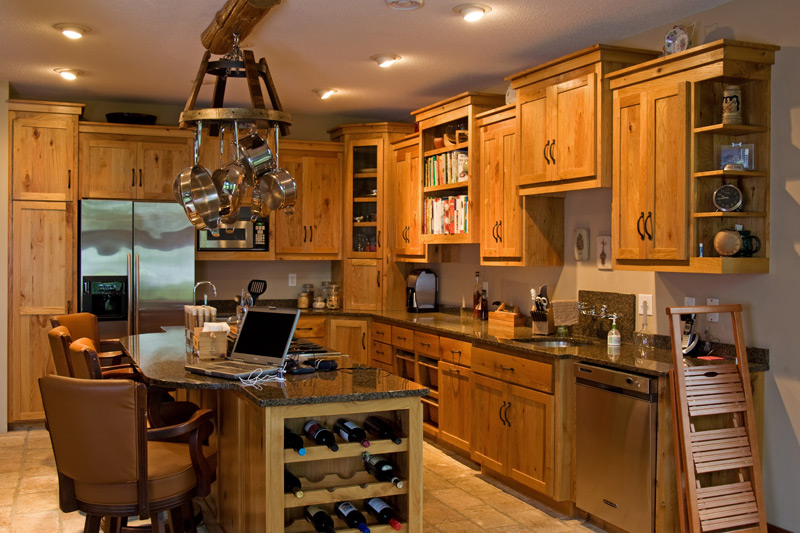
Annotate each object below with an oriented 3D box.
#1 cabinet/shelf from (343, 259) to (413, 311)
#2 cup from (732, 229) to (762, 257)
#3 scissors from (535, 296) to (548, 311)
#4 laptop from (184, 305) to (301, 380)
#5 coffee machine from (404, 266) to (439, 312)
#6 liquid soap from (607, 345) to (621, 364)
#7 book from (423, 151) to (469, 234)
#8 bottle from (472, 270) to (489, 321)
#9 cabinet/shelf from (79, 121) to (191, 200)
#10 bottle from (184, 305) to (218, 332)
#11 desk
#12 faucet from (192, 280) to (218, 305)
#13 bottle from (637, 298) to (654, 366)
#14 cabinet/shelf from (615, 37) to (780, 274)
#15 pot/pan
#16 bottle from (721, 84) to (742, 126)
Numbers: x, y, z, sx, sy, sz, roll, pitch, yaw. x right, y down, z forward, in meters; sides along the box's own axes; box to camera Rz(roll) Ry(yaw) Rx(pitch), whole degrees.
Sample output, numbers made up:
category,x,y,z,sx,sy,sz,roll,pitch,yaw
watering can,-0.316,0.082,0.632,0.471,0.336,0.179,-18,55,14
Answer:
category,x,y,z,sx,sy,sz,roll,pitch,yaw
cabinet/shelf,-0.289,0.284,7.555,0.878,0.800,0.589,-2,-5,31
cup,2.369,-0.158,4.166,0.244,0.191,0.112,-2,1,-37
scissors,1.255,0.341,5.346,0.112,0.128,0.097,-2,-2,43
laptop,-0.984,0.517,3.970,0.512,0.342,0.589,4,-3,-44
coffee machine,0.263,0.289,7.099,0.341,0.485,0.160,-2,1,-6
liquid soap,1.595,0.647,4.512,0.114,0.124,0.114,-2,-5,33
book,0.508,-0.782,6.392,0.313,0.894,0.961,0,-1,-29
bottle,0.873,0.300,6.463,0.151,0.499,0.258,-2,1,7
cabinet/shelf,-2.908,-1.111,6.533,1.347,0.944,0.500,1,-3,-18
bottle,-1.655,0.350,5.058,0.207,0.254,0.363,-1,3,-27
desk,-1.368,0.650,4.470,1.185,1.013,2.094,2,-3,-23
faucet,-2.275,0.312,7.081,0.205,0.348,0.282,-3,5,-24
bottle,1.879,0.440,4.642,0.100,0.405,0.497,-1,1,22
cabinet/shelf,2.038,-0.705,4.275,1.067,1.519,0.455,-1,1,31
pot/pan,-0.909,-0.479,3.416,0.457,0.567,0.514,-1,1,38
bottle,2.240,-1.072,4.092,0.109,0.292,0.259,-1,1,27
